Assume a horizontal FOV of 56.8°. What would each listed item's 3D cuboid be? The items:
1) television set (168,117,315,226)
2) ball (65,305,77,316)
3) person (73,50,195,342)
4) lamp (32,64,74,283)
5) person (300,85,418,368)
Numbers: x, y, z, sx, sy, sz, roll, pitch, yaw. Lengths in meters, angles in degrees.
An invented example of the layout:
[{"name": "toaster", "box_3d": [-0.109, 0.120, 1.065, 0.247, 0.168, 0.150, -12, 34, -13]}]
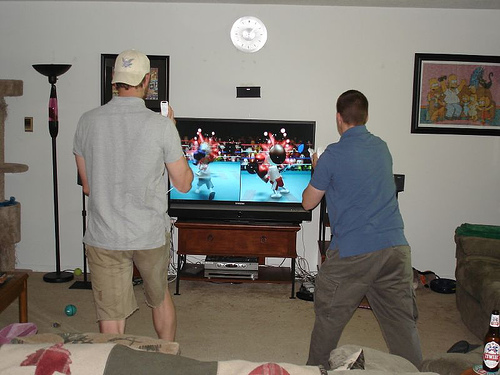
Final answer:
[{"name": "television set", "box_3d": [-0.045, -0.147, 4.422, 1.054, 0.749, 0.048, 1, -1, 2]}, {"name": "ball", "box_3d": [-1.529, 1.049, 3.957, 0.071, 0.076, 0.087, -1, 4, 0]}, {"name": "person", "box_3d": [-0.693, 0.086, 2.789, 0.687, 1.787, 0.323, 0, 5, -14]}, {"name": "lamp", "box_3d": [-1.956, -0.127, 4.642, 0.333, 2.185, 0.423, -1, 5, -21]}, {"name": "person", "box_3d": [0.700, 0.256, 2.943, 0.719, 1.754, 0.298, 1, 5, -3]}]
